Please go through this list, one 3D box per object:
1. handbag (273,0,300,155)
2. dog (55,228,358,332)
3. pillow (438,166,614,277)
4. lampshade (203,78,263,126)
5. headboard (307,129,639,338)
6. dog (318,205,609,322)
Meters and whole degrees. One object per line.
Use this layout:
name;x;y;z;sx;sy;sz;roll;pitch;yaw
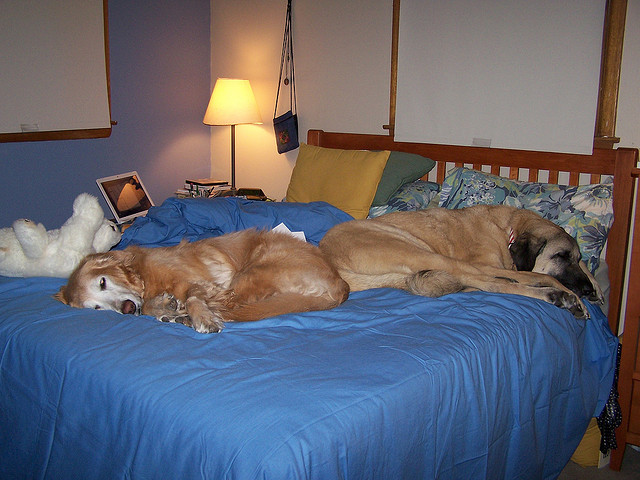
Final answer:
handbag;-0.348;-1.619;4.904;0.159;1.441;0.376;-9;16;-36
dog;-0.531;0.180;2.298;0.913;0.330;0.588;-6;-9;-29
pillow;1.403;-0.111;3.279;0.791;0.251;0.747;14;45;21
lampshade;-0.888;-1.239;5.005;0.629;0.781;0.436;-2;3;-11
headboard;0.987;-0.032;2.951;1.230;0.818;0.064;27;26;35
dog;0.759;0.114;2.782;1.231;0.444;0.831;3;-1;-4
